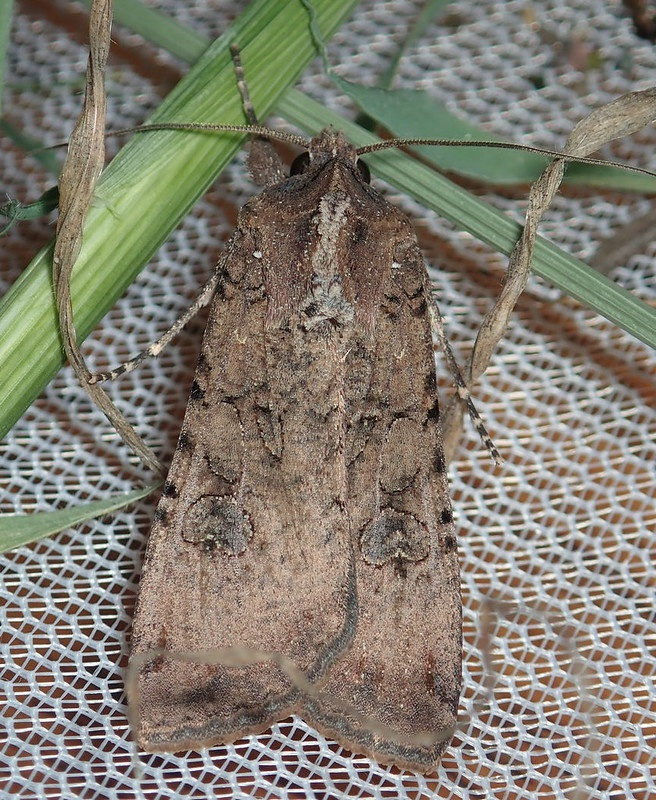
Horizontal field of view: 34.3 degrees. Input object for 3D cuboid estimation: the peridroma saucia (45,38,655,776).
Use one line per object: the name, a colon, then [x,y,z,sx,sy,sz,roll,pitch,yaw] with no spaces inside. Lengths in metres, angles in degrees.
peridroma saucia: [0.008,0.137,2.292,0.692,0.684,1.139,11,48,-8]
